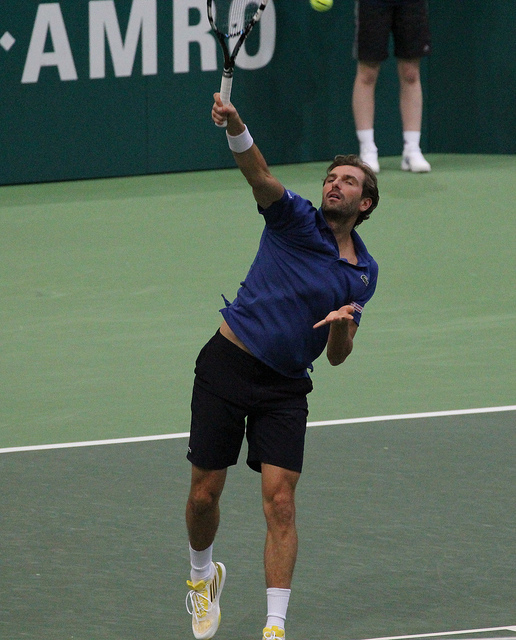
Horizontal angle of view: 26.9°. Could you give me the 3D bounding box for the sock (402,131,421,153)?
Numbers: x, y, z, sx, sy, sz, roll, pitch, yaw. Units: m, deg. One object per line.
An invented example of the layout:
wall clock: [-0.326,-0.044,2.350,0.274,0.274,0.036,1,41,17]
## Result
sock: [1.130,-1.328,8.012,0.152,0.206,0.147,0,10,2]

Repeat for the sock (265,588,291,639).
sock: [0.053,0.876,3.224,0.066,0.177,0.149,3,7,1]

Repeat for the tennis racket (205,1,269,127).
tennis racket: [-0.107,-0.904,3.583,0.227,0.058,0.765,3,46,5]

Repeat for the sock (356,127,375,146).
sock: [0.776,-1.345,7.876,0.129,0.190,0.127,-9,17,-6]

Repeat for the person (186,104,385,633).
person: [0.056,0.136,3.441,0.550,1.586,0.678,4,7,9]
